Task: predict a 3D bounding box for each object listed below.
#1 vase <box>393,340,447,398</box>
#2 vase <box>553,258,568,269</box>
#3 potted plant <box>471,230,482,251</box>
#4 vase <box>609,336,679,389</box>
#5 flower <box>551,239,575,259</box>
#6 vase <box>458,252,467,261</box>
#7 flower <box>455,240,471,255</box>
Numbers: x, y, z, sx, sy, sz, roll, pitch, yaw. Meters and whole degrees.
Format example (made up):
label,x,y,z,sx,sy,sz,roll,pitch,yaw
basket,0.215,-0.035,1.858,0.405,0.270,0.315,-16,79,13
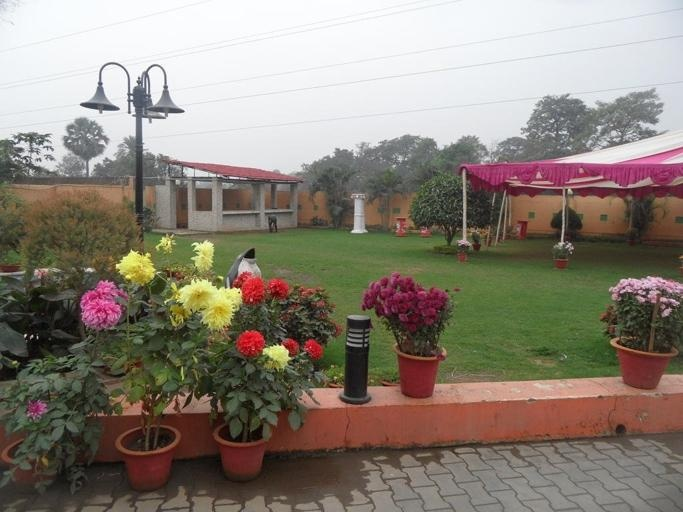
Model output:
label,x,y,z,sx,sy,sz,roll,pitch,yaw
vase,0.659,0.951,3.737,0.384,0.294,0.384,1,0,4
vase,5.667,0.194,11.449,0.280,0.171,0.287,1,4,19
potted plant,4.659,-0.445,15.349,0.257,0.522,0.790,4,11,14
vase,2.696,0.953,3.950,0.382,0.241,0.414,1,7,-5
flower,5.719,-0.148,11.485,0.385,0.425,0.487,10,14,40
vase,3.414,0.034,12.518,0.225,0.162,0.234,2,4,33
flower,3.570,-0.230,13.039,0.427,0.421,0.332,21,-11,-39
